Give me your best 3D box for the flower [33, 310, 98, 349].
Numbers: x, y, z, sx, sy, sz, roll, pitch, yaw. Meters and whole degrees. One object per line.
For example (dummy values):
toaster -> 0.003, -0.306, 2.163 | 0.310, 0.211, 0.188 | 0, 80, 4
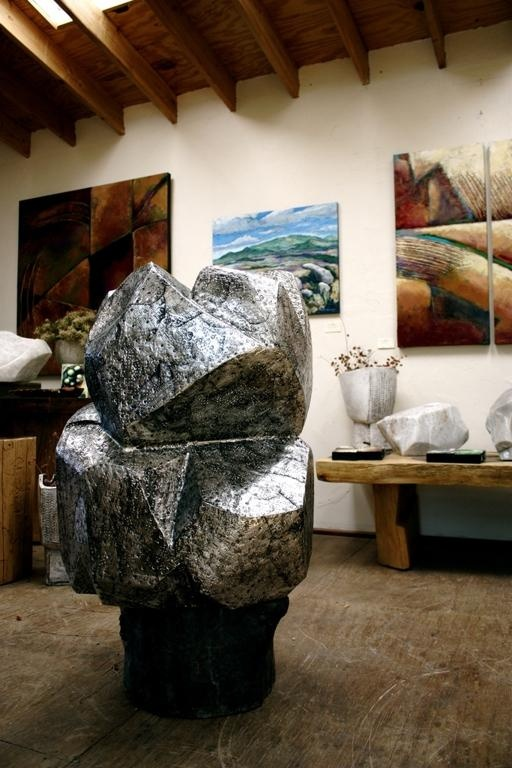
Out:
flower -> -1.158, -0.352, 3.563 | 0.297, 0.269, 0.298 | 2, -7, -26

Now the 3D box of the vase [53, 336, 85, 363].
vase -> -1.126, -0.184, 3.567 | 0.196, 0.155, 0.202 | 2, 0, -6

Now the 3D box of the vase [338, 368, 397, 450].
vase -> 0.626, 0.143, 3.179 | 0.312, 0.472, 0.325 | -1, -3, -19
